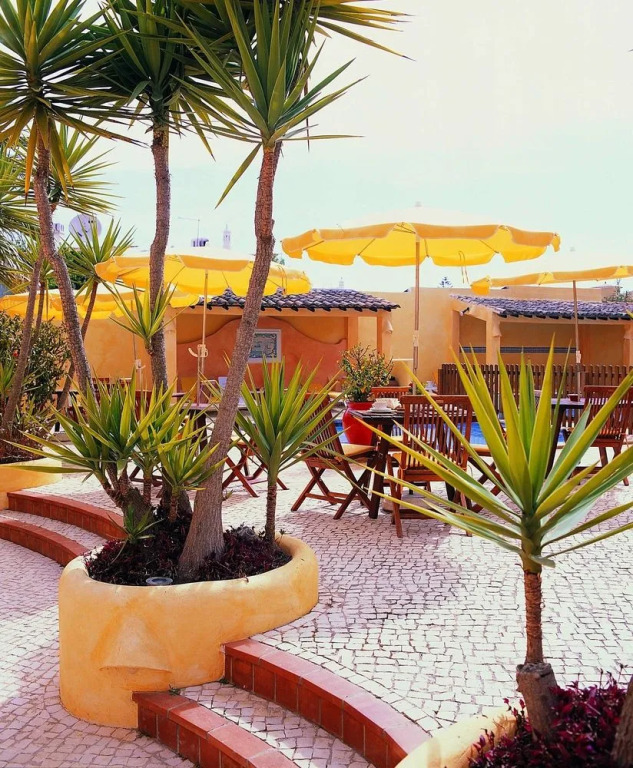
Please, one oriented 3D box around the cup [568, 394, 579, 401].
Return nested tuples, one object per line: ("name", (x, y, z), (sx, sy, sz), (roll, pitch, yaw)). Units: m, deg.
("cup", (3.105, 0.168, 7.557), (0.082, 0.052, 0.126), (3, 10, 15))
